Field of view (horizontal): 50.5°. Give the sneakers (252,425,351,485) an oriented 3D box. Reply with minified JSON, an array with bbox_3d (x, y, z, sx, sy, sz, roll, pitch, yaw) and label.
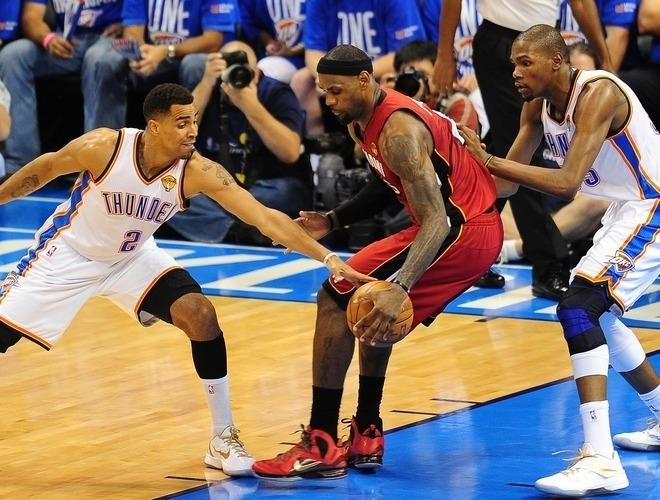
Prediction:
[{"bbox_3d":[-0.105,0.901,3.137,0.489,0.261,0.168,1,-3,-7],"label":"sneakers"}]

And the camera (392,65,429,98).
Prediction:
[{"bbox_3d":[0.747,-1.525,6.251,0.201,0.180,0.180,10,15,15],"label":"camera"}]

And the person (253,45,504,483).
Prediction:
[{"bbox_3d":[0.248,0.058,3.069,0.956,1.868,0.916,1,11,15],"label":"person"}]

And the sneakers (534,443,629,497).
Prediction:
[{"bbox_3d":[0.994,0.864,2.796,0.414,0.220,0.156,-1,-12,-14],"label":"sneakers"}]

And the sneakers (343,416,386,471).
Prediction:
[{"bbox_3d":[0.197,0.860,3.265,0.143,0.187,0.416,-2,0,3],"label":"sneakers"}]

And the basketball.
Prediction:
[{"bbox_3d":[0.198,0.245,2.751,0.258,0.249,0.198,-2,11,1],"label":"basketball"}]

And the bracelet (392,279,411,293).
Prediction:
[{"bbox_3d":[0.275,0.137,2.702,0.064,0.054,0.045,-1,11,5],"label":"bracelet"}]

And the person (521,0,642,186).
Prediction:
[{"bbox_3d":[1.202,-0.656,3.118,0.748,0.643,0.581,-9,7,-6],"label":"person"}]

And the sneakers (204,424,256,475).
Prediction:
[{"bbox_3d":[-0.436,0.898,3.142,0.291,0.202,0.132,6,2,36],"label":"sneakers"}]
